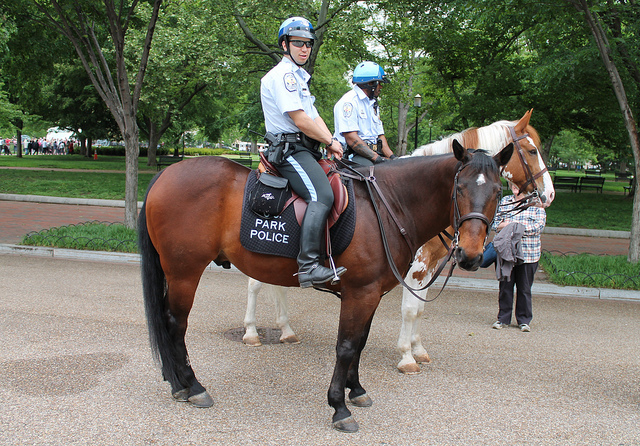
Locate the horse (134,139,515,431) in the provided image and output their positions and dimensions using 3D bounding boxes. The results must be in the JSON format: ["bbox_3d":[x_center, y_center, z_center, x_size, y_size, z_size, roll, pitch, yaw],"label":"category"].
[{"bbox_3d":[0.118,0.965,8.371,4.034,3.075,1.229,4,2,11],"label":"horse"}]

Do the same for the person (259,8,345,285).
[{"bbox_3d":[-0.202,-0.974,7.751,0.713,3.428,1.135,-4,7,-36],"label":"person"}]

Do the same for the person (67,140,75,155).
[{"bbox_3d":[-24.343,-7.374,58.336,0.347,1.334,1.863,-3,6,-26],"label":"person"}]

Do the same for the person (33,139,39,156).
[{"bbox_3d":[-28.787,-7.700,60.703,0.426,1.336,2.038,-2,6,-25],"label":"person"}]

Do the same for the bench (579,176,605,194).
[{"bbox_3d":[14.777,-2.042,32.550,1.444,0.915,0.590,2,10,14],"label":"bench"}]
